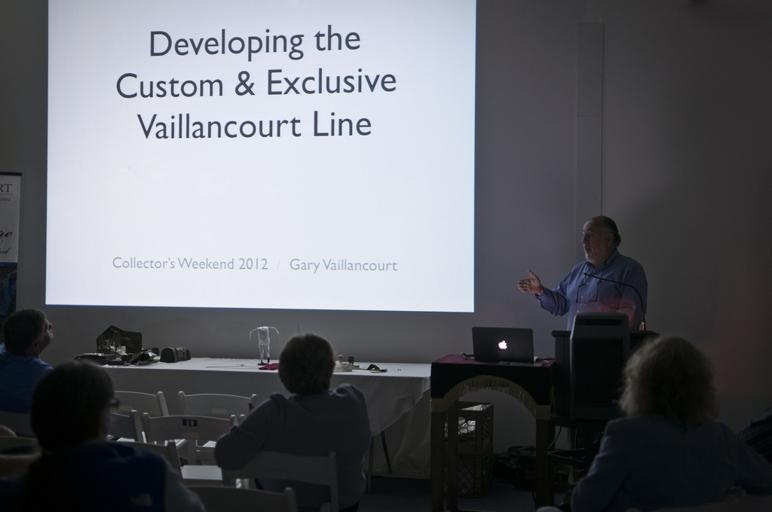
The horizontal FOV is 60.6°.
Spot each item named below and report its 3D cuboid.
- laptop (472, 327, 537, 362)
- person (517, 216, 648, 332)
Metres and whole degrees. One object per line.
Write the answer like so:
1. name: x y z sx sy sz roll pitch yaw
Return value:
1. laptop: 0.714 0.576 4.241 0.437 0.258 0.321 -3 -11 23
2. person: 1.563 0.152 5.139 0.674 1.229 0.731 10 -11 -27
